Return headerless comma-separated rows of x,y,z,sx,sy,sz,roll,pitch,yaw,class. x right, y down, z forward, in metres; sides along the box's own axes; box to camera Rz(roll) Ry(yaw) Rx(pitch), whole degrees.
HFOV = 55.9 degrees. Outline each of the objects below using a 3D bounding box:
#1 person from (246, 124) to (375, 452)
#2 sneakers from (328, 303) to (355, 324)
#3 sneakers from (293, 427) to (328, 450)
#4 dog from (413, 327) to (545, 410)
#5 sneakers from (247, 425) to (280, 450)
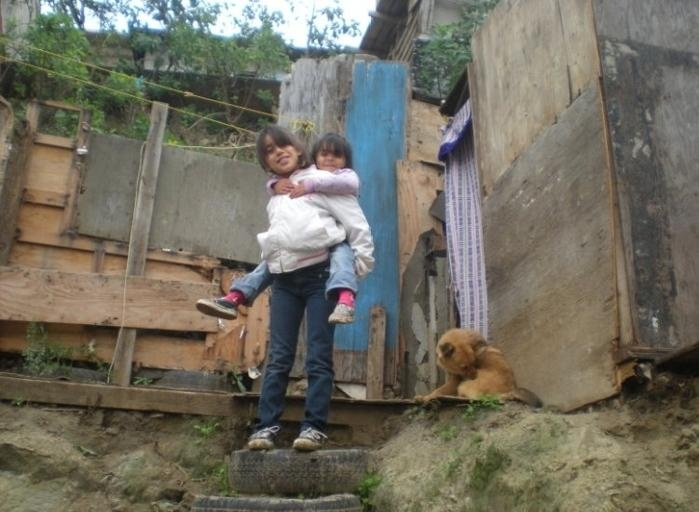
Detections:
-0.372,0.180,5.359,1.016,2.660,0.849,-6,-14,23,person
-0.057,0.427,4.877,0.168,0.146,0.198,3,-12,1,sneakers
-0.296,1.352,4.806,0.115,0.110,0.276,3,-19,10,sneakers
1.066,0.954,5.430,0.575,0.613,1.048,12,-14,-36,dog
-0.636,1.357,4.860,0.208,0.172,0.200,4,-12,-6,sneakers
